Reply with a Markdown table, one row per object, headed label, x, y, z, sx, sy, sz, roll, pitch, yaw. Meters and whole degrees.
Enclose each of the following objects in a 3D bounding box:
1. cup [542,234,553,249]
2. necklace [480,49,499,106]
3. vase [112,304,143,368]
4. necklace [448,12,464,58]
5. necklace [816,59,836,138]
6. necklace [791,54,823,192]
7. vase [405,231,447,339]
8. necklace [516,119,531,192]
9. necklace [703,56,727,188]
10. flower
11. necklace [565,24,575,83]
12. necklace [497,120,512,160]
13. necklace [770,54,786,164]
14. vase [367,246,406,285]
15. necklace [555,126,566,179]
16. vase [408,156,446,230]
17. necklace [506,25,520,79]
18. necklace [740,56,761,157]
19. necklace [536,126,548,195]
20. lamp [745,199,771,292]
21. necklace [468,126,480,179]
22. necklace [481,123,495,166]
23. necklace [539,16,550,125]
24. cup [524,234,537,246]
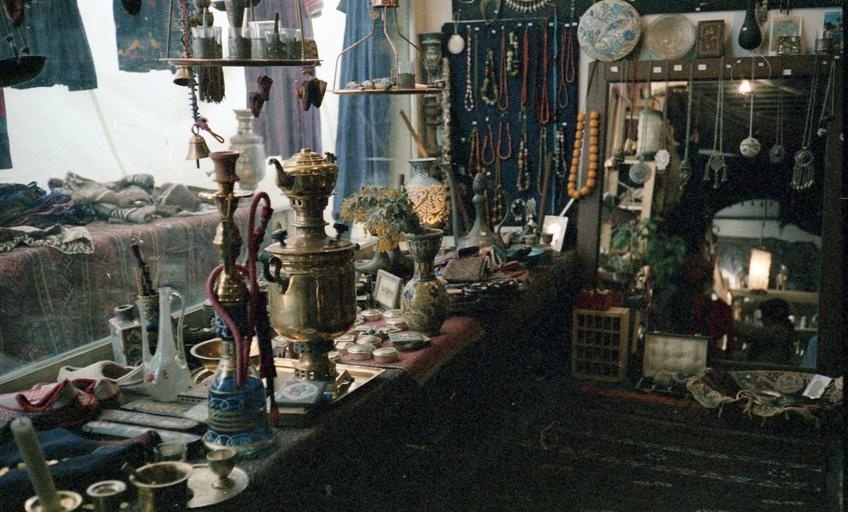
| label | x | y | z | sx | sy | sz | roll | pitch | yaw |
| --- | --- | --- | --- | --- | --- | --- | --- | --- | --- |
| cup | 0.568 | -0.070 | 3.183 | 0.068 | 0.068 | 0.056 | 0 | -2 | 7 |
| necklace | 0.355 | -0.960 | 3.675 | 0.036 | 0.300 | 0.118 | -14 | 16 | -43 |
| vase | -0.981 | 0.260 | 2.298 | 0.085 | 0.195 | 0.126 | 1 | 12 | 18 |
| necklace | 0.176 | -1.168 | 3.611 | 0.073 | 0.199 | 0.105 | -13 | 15 | -39 |
| necklace | 1.084 | -0.415 | 1.847 | 0.022 | 0.194 | 0.049 | 4 | 30 | 18 |
| necklace | 1.029 | -0.354 | 1.845 | 0.054 | 0.346 | 0.106 | 3 | 14 | 28 |
| vase | 0.000 | 0.095 | 2.541 | 0.161 | 0.383 | 0.149 | 8 | 16 | 43 |
| necklace | 0.534 | -0.560 | 3.740 | 0.069 | 0.410 | 0.079 | -2 | 12 | 6 |
| necklace | 0.836 | -0.379 | 1.950 | 0.061 | 0.356 | 0.125 | 3 | 13 | 27 |
| flower | -0.140 | -0.155 | 2.697 | 0.273 | 0.218 | 0.272 | 2 | 4 | 26 |
| necklace | 0.744 | -1.018 | 3.527 | 0.062 | 0.264 | 0.012 | -17 | 31 | -15 |
| necklace | 0.432 | -0.626 | 3.722 | 0.099 | 0.205 | 0.071 | -4 | 12 | -4 |
| necklace | 0.958 | -0.359 | 1.855 | 0.036 | 0.204 | 0.079 | 3 | 13 | 26 |
| vase | -0.138 | 0.031 | 2.979 | 0.174 | 0.120 | 0.169 | 1 | 12 | 18 |
| necklace | 0.731 | -0.554 | 3.673 | 0.055 | 0.272 | 0.128 | -1 | 12 | 11 |
| vase | 0.015 | -0.295 | 3.293 | 0.156 | 0.348 | 0.236 | 8 | 16 | 41 |
| necklace | 0.466 | -1.073 | 3.593 | 0.063 | 0.183 | 0.163 | -2 | 12 | 7 |
| necklace | 0.900 | -0.409 | 1.894 | 0.057 | 0.265 | 0.112 | 2 | 13 | 23 |
| necklace | 0.647 | -0.527 | 3.713 | 0.080 | 0.324 | 0.024 | -4 | -13 | 40 |
| lamp | 0.929 | -0.025 | 1.895 | 0.061 | 0.248 | 0.050 | 3 | 13 | 25 |
| necklace | 0.265 | -0.570 | 3.748 | 0.072 | 0.260 | 0.032 | -2 | 12 | 3 |
| necklace | 0.348 | -0.607 | 3.730 | 0.076 | 0.217 | 0.018 | 3 | 5 | 40 |
| necklace | 0.625 | -0.946 | 3.592 | 0.058 | 0.504 | 0.222 | -1 | 12 | 10 |
| cup | 0.503 | -0.073 | 3.227 | 0.055 | 0.035 | 0.054 | 1 | 2 | 0 |
